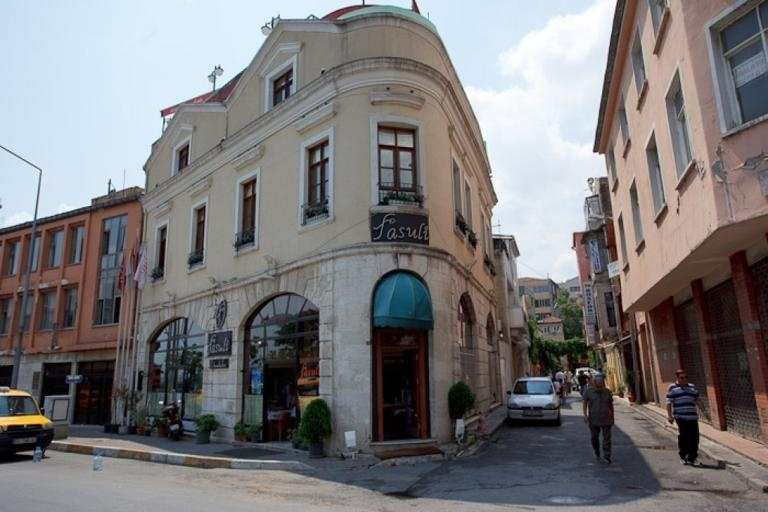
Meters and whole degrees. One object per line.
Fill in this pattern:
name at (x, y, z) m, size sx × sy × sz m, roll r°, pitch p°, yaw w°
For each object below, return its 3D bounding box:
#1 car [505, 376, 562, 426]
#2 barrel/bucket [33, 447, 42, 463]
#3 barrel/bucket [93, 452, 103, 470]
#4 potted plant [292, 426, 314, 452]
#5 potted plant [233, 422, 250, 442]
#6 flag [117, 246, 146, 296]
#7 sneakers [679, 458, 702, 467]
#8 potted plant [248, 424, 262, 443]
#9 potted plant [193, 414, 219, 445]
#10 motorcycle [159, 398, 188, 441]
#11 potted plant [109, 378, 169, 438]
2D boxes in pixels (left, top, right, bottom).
car at (6.885, 6.561, 24.303) m, size 2.160 × 2.324 × 2.203 m, roll -10°, pitch -20°, yaw 19°
barrel/bucket at (-12.043, 6.831, 18.395) m, size 0.248 × 0.506 × 0.756 m, roll 9°, pitch -23°, yaw -31°
barrel/bucket at (-9.256, 6.617, 17.128) m, size 0.310 × 0.479 × 0.878 m, roll 8°, pitch -22°, yaw -27°
potted plant at (-2.911, 6.361, 18.417) m, size 0.838 × 1.010 × 0.870 m, roll 3°, pitch -12°, yaw -20°
potted plant at (-5.575, 6.885, 20.863) m, size 0.788 × 0.669 × 0.270 m, roll -9°, pitch -19°, yaw 16°
flag at (-13.518, 0.803, 28.397) m, size 1.887 × 2.654 × 0.514 m, roll -19°, pitch -28°, yaw 14°
sneakers at (9.029, 5.981, 15.512) m, size 0.557 × 0.261 × 0.197 m, roll -6°, pitch -14°, yaw 30°
potted plant at (-5.010, 6.821, 20.626) m, size 0.511 × 0.670 × 0.284 m, roll 1°, pitch -19°, yaw -9°
potted plant at (-7.355, 7.070, 21.878) m, size 1.175 × 1.326 × 0.928 m, roll 6°, pitch -18°, yaw -20°
motorcycle at (-9.388, 7.184, 23.548) m, size 0.997 × 1.873 × 2.274 m, roll 6°, pitch -21°, yaw -22°
potted plant at (-12.391, 7.394, 26.088) m, size 3.648 × 2.563 × 0.834 m, roll -14°, pitch -21°, yaw 28°
